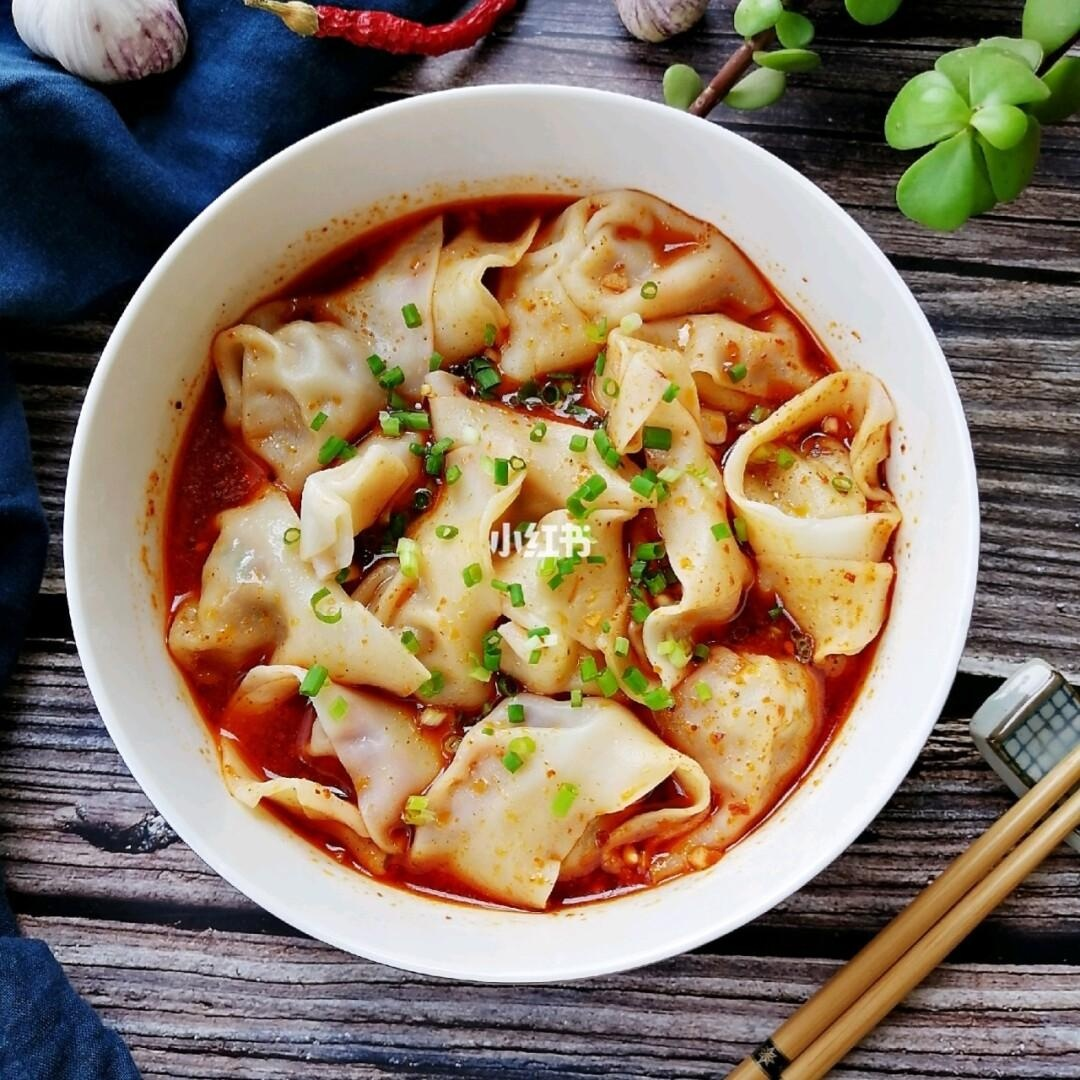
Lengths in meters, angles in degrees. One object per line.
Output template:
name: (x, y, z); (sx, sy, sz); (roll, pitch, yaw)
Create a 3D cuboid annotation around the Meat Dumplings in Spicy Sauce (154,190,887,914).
Meat Dumplings in Spicy Sauce: (-0.042, 0.061, 3.309); (2.536, 1.114, 1.832); (2, 86, -10)
